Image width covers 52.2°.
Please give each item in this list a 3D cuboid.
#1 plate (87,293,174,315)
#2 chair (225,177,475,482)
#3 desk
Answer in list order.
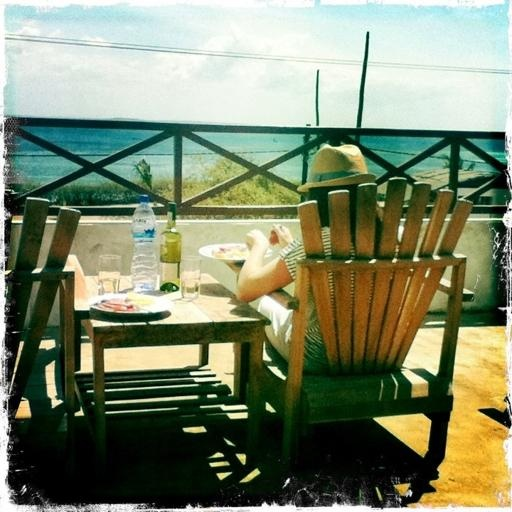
[{"bbox_3d":[-0.476,0.180,1.988,0.312,0.056,0.234,3,9,4],"label":"plate"},{"bbox_3d":[0.421,0.296,2.405,0.833,1.143,0.857,0,7,-15],"label":"chair"},{"bbox_3d":[-0.255,0.500,2.276,0.663,0.634,1.000,5,9,17],"label":"desk"}]
